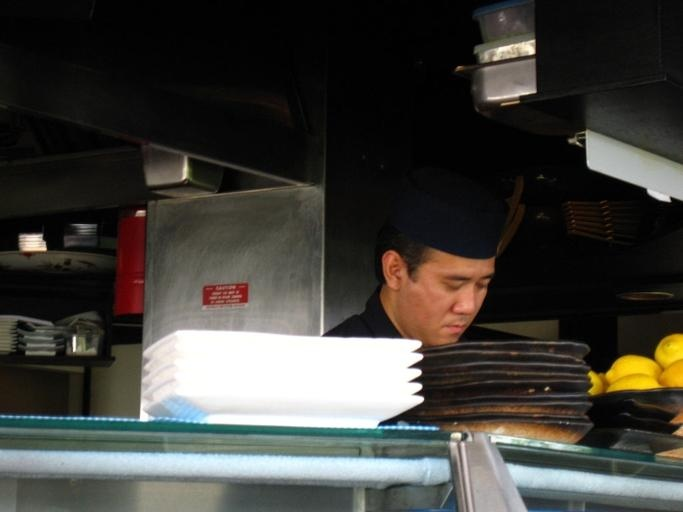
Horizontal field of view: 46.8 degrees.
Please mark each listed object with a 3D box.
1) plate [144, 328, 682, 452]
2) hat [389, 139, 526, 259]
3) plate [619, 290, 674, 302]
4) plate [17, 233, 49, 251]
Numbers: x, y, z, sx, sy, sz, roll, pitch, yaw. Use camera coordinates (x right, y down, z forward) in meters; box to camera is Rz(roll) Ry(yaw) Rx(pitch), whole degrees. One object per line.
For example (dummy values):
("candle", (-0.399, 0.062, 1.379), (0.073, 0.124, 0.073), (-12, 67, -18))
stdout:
("plate", (0.078, 0.188, 1.131), (0.685, 0.169, 0.267), (3, 4, -15))
("hat", (0.428, -0.160, 2.445), (0.398, 0.184, 0.385), (20, 4, 33))
("plate", (1.288, 0.168, 3.344), (0.212, 0.058, 0.036), (5, 4, 13))
("plate", (-1.471, -0.062, 3.757), (0.144, 0.105, 0.099), (5, 4, 7))
